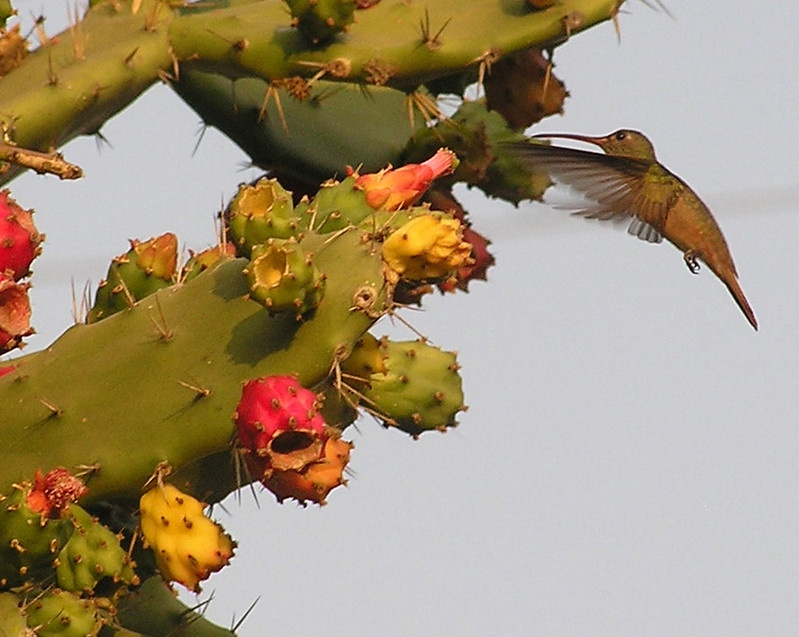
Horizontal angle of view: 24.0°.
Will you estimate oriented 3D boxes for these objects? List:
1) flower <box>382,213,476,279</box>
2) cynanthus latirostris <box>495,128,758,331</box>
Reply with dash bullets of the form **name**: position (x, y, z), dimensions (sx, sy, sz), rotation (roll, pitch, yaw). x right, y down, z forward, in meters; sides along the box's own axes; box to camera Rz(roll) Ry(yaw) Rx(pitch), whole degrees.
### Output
- **flower**: position (0.049, -0.112, 3.127), dimensions (0.126, 0.058, 0.118), rotation (-29, -61, 35)
- **cynanthus latirostris**: position (0.508, -0.235, 3.876), dimensions (0.551, 0.319, 0.267), rotation (19, -83, 2)
